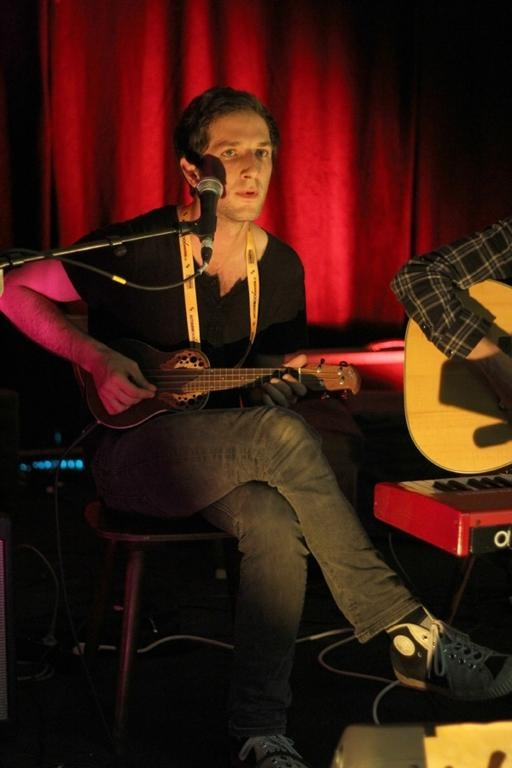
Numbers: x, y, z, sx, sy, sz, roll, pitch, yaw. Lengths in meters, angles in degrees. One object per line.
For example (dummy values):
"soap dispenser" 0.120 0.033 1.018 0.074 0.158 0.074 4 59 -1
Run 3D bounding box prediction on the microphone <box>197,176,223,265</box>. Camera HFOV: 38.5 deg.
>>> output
"microphone" -0.072 -0.287 1.288 0.050 0.162 0.045 4 -23 0
